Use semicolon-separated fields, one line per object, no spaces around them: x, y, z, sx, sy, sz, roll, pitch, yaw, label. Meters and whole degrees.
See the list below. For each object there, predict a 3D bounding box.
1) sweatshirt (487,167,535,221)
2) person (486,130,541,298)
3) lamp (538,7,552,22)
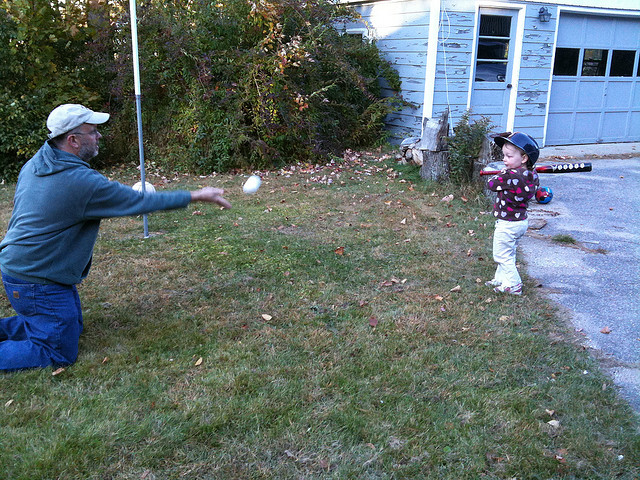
1.980;-0.476;5.706;0.537;0.489;0.432;-12;20;-35;sweatshirt
2.073;-0.312;6.003;0.486;1.637;1.044;6;11;17;person
4.938;-4.896;12.205;0.261;0.388;0.298;9;15;33;lamp
